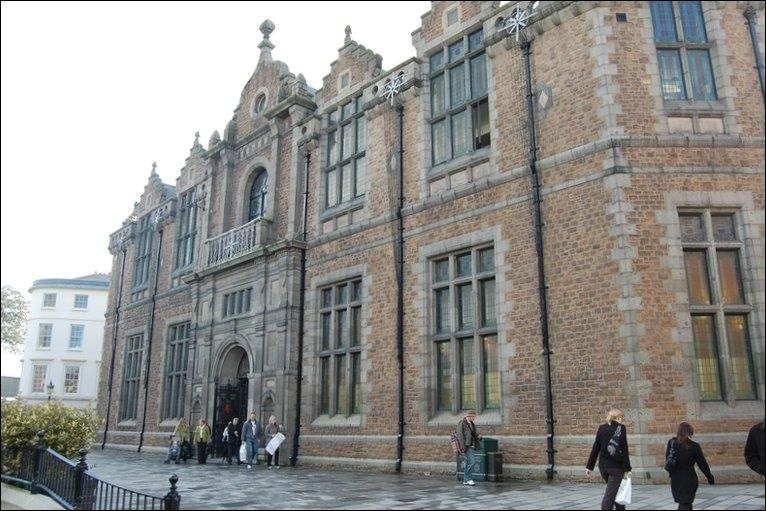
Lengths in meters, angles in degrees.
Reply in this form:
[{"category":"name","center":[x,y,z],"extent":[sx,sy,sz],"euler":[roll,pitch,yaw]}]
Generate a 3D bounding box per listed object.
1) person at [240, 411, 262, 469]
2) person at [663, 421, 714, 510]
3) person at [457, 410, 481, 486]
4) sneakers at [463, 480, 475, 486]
[{"category":"person","center":[-4.965,6.839,23.366],"extent":[0.600,1.944,0.685],"euler":[-7,-17,12]},{"category":"person","center":[6.531,4.528,13.584],"extent":[0.867,1.780,0.427],"euler":[-9,-18,20]},{"category":"person","center":[2.430,5.467,17.927],"extent":[0.638,1.978,0.921],"euler":[-5,-17,7]},{"category":"sneakers","center":[2.368,6.294,17.426],"extent":[0.110,0.121,0.294],"euler":[14,-22,-40]}]
